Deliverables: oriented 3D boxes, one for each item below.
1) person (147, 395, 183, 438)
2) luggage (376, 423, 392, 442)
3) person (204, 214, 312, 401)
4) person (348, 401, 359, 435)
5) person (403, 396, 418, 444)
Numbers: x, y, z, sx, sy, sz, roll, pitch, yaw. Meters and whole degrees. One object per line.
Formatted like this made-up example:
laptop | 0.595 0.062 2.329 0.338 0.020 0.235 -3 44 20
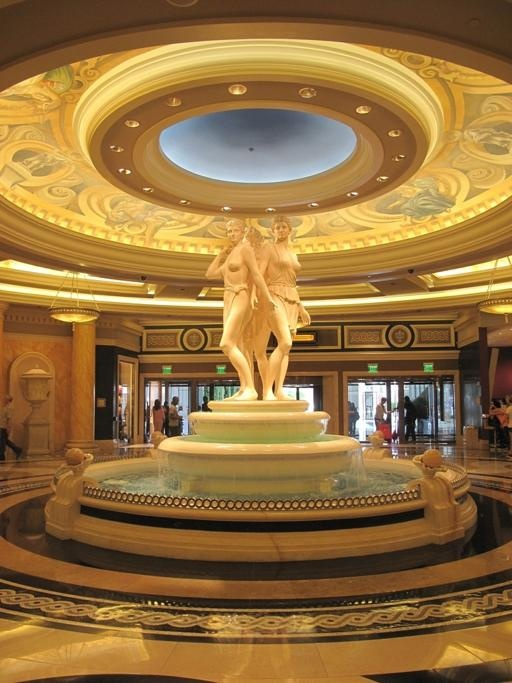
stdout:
person | -3.112 2.698 18.449 0.857 1.414 1.340 4 -9 -34
luggage | 4.461 3.166 17.691 0.518 0.706 0.282 -3 -8 15
person | 0.012 -0.398 6.518 1.031 2.284 0.799 6 -11 -42
person | 3.423 2.730 17.882 0.399 1.234 0.146 3 -9 -28
person | 5.379 2.695 17.729 0.433 1.572 0.151 -3 -8 11
